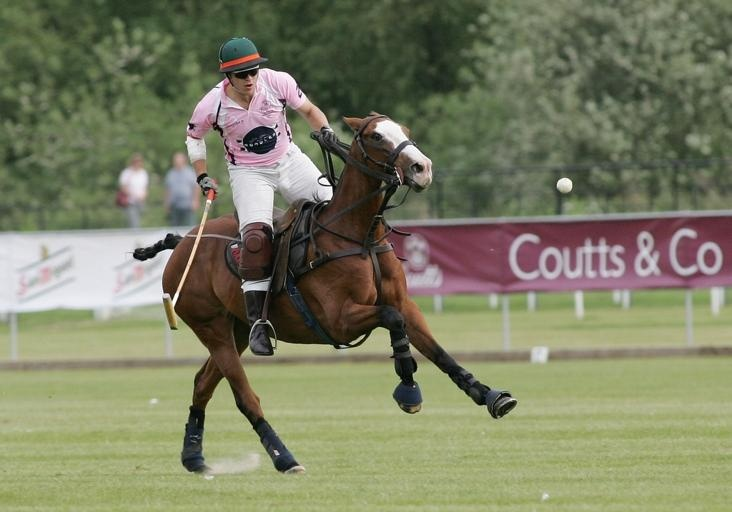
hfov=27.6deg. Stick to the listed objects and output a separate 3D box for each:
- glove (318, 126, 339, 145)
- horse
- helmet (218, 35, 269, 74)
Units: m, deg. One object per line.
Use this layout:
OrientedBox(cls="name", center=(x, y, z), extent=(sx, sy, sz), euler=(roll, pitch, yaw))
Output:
OrientedBox(cls="glove", center=(-0.352, -1.187, 14.618), extent=(0.088, 0.187, 0.140), euler=(-40, -8, -16))
OrientedBox(cls="horse", center=(-0.449, 0.528, 15.072), extent=(1.359, 3.431, 5.103), euler=(5, -11, -38))
OrientedBox(cls="helmet", center=(-1.226, -1.927, 14.510), extent=(0.390, 0.195, 0.422), euler=(-25, 16, -40))
